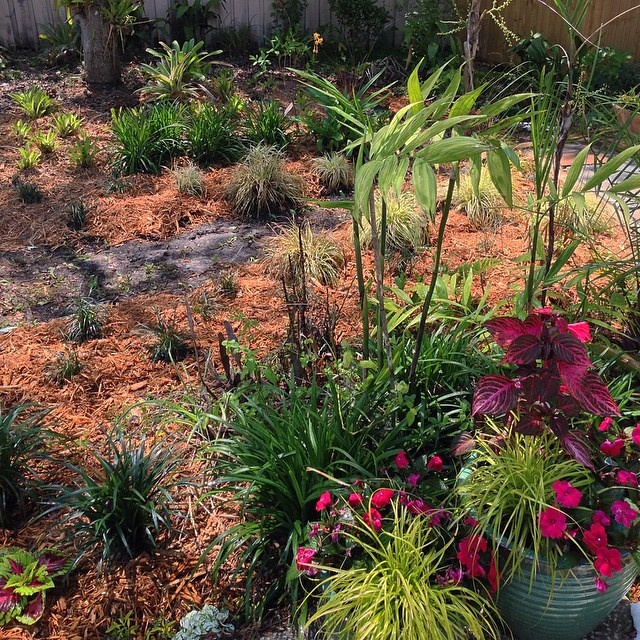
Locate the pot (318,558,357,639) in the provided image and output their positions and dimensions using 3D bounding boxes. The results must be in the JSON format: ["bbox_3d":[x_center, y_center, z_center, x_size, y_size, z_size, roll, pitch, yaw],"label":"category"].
[{"bbox_3d":[0.059,0.894,1.844,0.084,0.333,0.090,-2,8,0],"label":"pot"}]
